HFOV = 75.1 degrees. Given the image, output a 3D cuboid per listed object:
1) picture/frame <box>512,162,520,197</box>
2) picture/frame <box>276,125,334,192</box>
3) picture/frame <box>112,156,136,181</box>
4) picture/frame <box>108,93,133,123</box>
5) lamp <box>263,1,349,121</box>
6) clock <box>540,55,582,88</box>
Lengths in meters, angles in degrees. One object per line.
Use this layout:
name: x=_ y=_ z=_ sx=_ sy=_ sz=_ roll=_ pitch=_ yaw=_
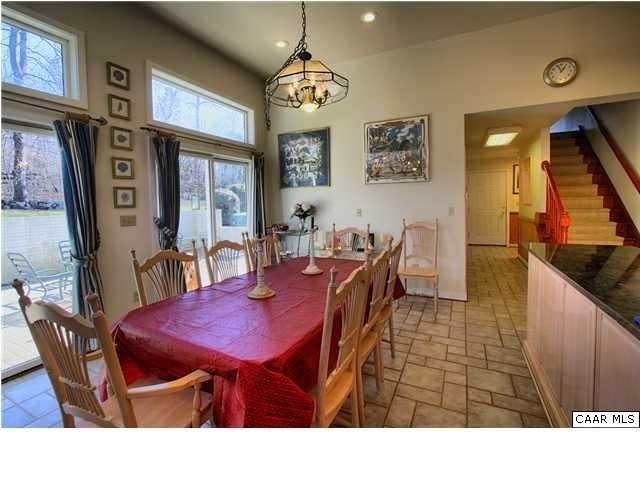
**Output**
picture/frame: x=4.184 y=-1.289 z=8.897 sx=0.096 sy=0.643 sz=0.167 roll=-2 pitch=7 yaw=10
picture/frame: x=-0.178 y=-1.174 z=5.894 sx=0.882 sy=0.923 sz=0.038 roll=5 pitch=9 yaw=33
picture/frame: x=-2.015 y=-0.730 z=4.242 sx=0.019 sy=0.281 sz=0.269 roll=-1 pitch=1 yaw=31
picture/frame: x=-2.027 y=-1.331 z=4.190 sx=0.028 sy=0.291 sz=0.279 roll=6 pitch=18 yaw=27
lamp: x=-0.119 y=-1.332 z=3.336 sx=0.667 sy=0.571 sz=0.362 roll=-3 pitch=7 yaw=-2
clock: x=2.615 y=-1.815 z=4.471 sx=0.368 sy=0.400 sz=0.051 roll=-1 pitch=-1 yaw=34
